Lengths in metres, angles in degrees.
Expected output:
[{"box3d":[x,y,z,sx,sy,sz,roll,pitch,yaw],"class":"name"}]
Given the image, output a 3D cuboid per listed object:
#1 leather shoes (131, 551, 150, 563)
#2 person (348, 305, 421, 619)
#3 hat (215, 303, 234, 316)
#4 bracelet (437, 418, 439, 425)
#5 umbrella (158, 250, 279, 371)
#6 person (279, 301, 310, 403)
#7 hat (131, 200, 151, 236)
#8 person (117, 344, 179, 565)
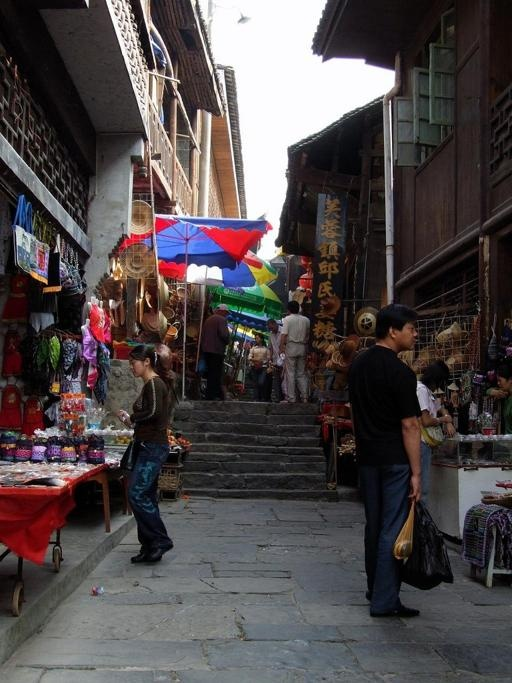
[{"box3d":[-0.847,1.630,4.266,0.177,0.073,0.064,3,-7,-2],"class":"leather shoes"},{"box3d":[0.694,0.604,2.992,0.397,1.618,0.341,-5,-12,29],"class":"person"},{"box3d":[-0.844,-0.853,14.829,0.491,0.248,0.508,2,-19,40],"class":"hat"},{"box3d":[1.634,0.730,5.064,0.036,0.050,0.013,-3,-1,-45],"class":"bracelet"},{"box3d":[-0.945,-0.748,13.625,3.362,1.518,3.178,6,-10,0],"class":"umbrella"},{"box3d":[0.826,0.208,11.790,0.615,2.186,0.804,-1,-10,5],"class":"person"},{"box3d":[-1.791,-1.970,9.061,0.400,0.593,0.416,0,-10,3],"class":"hat"},{"box3d":[-0.847,0.851,4.402,0.398,1.653,0.385,0,-10,4],"class":"person"}]
